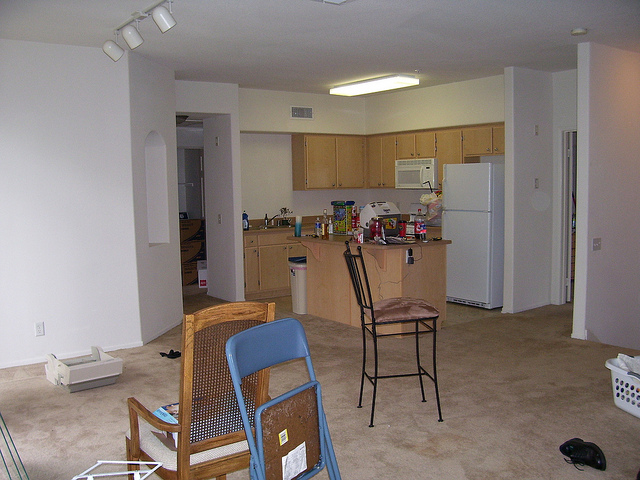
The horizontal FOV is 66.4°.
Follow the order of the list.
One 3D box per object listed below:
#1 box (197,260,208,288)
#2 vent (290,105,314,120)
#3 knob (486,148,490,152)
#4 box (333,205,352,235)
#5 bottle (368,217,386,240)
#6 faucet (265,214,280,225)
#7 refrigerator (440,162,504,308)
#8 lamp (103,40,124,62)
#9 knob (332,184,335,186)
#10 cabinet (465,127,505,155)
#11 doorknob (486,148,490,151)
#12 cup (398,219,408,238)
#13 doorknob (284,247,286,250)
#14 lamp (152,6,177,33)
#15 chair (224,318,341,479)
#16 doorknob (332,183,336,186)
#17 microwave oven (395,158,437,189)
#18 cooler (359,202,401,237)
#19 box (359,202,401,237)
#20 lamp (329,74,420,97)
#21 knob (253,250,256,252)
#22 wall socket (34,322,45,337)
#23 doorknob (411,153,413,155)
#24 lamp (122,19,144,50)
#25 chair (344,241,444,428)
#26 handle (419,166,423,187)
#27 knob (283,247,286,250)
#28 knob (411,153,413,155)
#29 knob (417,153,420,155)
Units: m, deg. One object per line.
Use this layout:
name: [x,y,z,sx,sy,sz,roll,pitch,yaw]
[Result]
box: [-2.090,0.628,8.662,0.143,0.463,0.409,-4,9,-17]
vent: [-0.311,-2.130,8.251,0.475,0.236,0.082,-8,12,-41]
knob: [2.508,-1.331,7.303,0.043,0.029,0.061,-2,-7,6]
box: [0.287,-0.280,6.793,0.334,0.399,0.120,8,13,44]
bottle: [0.728,-0.143,6.248,0.213,0.276,0.113,-3,9,-15]
faucet: [-0.861,-0.354,8.483,0.120,0.162,0.355,5,11,35]
refrigerator: [2.222,-0.058,7.124,0.891,2.062,0.478,2,10,18]
lamp: [-2.091,-1.891,4.893,0.237,0.208,0.100,2,10,20]
knob: [0.225,-0.962,8.641,0.028,0.049,0.049,3,-12,-2]
cabinet: [2.470,-1.457,7.347,0.359,0.439,0.620,-3,5,-40]
doorknob: [2.504,-1.337,7.307,0.019,0.036,0.036,-9,14,-32]
cup: [1.046,-0.139,6.235,0.113,0.187,0.429,1,9,10]
doorknob: [-0.592,0.148,8.067,0.027,0.028,0.028,-2,-8,22]
lamp: [-1.293,-1.812,4.017,0.169,0.213,0.131,-4,10,-18]
chair: [-0.168,0.805,2.300,0.480,0.801,0.247,-10,13,-43]
doorknob: [0.233,-0.967,8.645,0.047,0.031,0.074,-2,1,-33]
microwave oven: [1.630,-1.074,8.222,0.710,0.466,0.479,2,4,28]
cooler: [0.776,-0.253,6.432,0.474,0.470,0.376,-9,8,-32]
box: [0.780,-0.258,6.414,0.454,0.450,0.344,-9,10,-38]
lamp: [0.798,-2.253,7.081,1.345,0.195,0.508,8,12,44]
knob: [-1.051,0.182,7.773,0.030,0.029,0.016,0,0,-32]
wall socket: [-3.077,0.980,5.346,0.095,0.149,0.007,-5,10,-25]
doorknob: [1.537,-1.432,8.218,0.025,0.044,0.044,0,1,-36]
lamp: [-1.706,-1.881,4.460,0.132,0.125,0.078,-24,37,-3]
chair: [0.627,0.780,4.222,0.738,1.482,0.650,-2,1,-9]
handle: [1.637,-1.020,7.954,0.057,0.281,0.025,3,10,22]
knob: [-0.595,0.145,8.066,0.035,0.035,0.018,0,0,-25]
knob: [1.536,-1.432,8.220,0.020,0.036,0.036,0,1,-36]
knob: [1.632,-1.418,8.121,0.035,0.016,0.050,2,-1,6]
